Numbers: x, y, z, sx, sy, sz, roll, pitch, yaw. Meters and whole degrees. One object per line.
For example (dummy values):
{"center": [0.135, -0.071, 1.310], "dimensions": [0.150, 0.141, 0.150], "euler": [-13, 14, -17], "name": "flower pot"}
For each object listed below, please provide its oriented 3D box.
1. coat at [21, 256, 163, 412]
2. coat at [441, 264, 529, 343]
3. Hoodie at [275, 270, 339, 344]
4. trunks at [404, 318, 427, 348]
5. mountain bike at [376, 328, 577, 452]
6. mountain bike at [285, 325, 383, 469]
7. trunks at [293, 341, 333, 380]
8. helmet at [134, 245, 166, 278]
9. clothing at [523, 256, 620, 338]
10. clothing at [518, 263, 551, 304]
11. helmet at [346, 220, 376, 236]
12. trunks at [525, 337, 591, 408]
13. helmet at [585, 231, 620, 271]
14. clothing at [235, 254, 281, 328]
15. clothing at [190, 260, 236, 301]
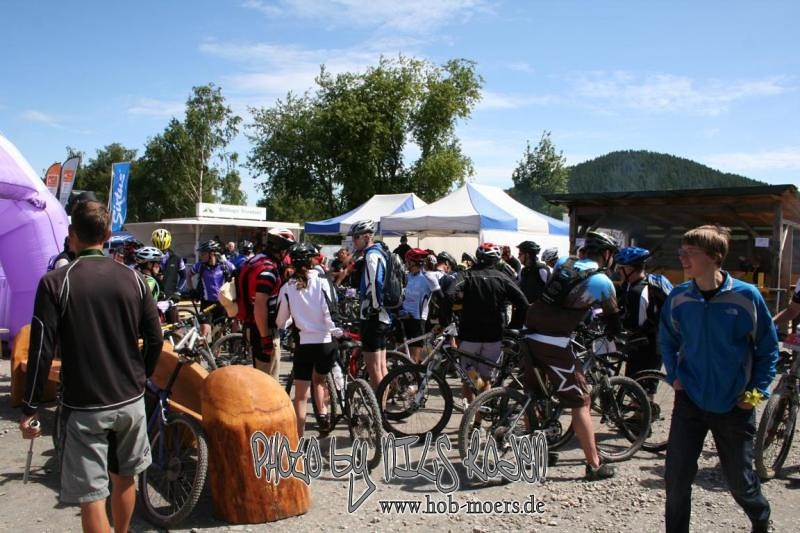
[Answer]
{"center": [-2.843, 0.578, 6.567], "dimensions": [1.199, 1.450, 0.704], "euler": [-4, 8, -36], "name": "coat"}
{"center": [1.106, 0.507, 9.290], "dimensions": [1.139, 1.094, 0.541], "euler": [1, -1, 16], "name": "coat"}
{"center": [-1.067, 0.537, 8.438], "dimensions": [0.808, 0.886, 0.483], "euler": [-12, -15, 21], "name": "Hoodie"}
{"center": [0.287, 0.999, 10.989], "dimensions": [0.396, 0.444, 0.409], "euler": [0, 6, 3], "name": "trunks"}
{"center": [0.899, 1.426, 8.717], "dimensions": [2.360, 1.535, 1.235], "euler": [1, -14, 21], "name": "mountain bike"}
{"center": [-0.718, 1.553, 9.123], "dimensions": [1.094, 1.602, 2.419], "euler": [-2, 0, -23], "name": "mountain bike"}
{"center": [-0.969, 1.105, 8.459], "dimensions": [0.310, 0.521, 0.530], "euler": [16, -20, -22], "name": "trunks"}
{"center": [-3.172, -0.071, 9.050], "dimensions": [0.386, 0.393, 0.304], "euler": [-10, 16, -23], "name": "helmet"}
{"center": [2.082, 0.385, 8.489], "dimensions": [0.706, 0.698, 0.432], "euler": [41, 6, 40], "name": "clothing"}
{"center": [2.082, 0.259, 10.918], "dimensions": [0.371, 0.707, 0.634], "euler": [1, -1, -18], "name": "clothing"}
{"center": [-0.506, -0.521, 9.563], "dimensions": [0.295, 0.126, 0.229], "euler": [-6, 3, -1], "name": "helmet"}
{"center": [1.758, 1.220, 8.071], "dimensions": [0.739, 0.726, 0.400], "euler": [-2, 13, 44], "name": "trunks"}
{"center": [2.413, -0.184, 8.692], "dimensions": [0.389, 0.499, 0.506], "euler": [6, 1, 28], "name": "helmet"}
{"center": [-1.818, 0.313, 9.266], "dimensions": [0.648, 0.920, 0.603], "euler": [-11, -7, 4], "name": "clothing"}
{"center": [-3.175, 0.243, 12.081], "dimensions": [0.685, 0.695, 0.388], "euler": [2, -5, -10], "name": "clothing"}
